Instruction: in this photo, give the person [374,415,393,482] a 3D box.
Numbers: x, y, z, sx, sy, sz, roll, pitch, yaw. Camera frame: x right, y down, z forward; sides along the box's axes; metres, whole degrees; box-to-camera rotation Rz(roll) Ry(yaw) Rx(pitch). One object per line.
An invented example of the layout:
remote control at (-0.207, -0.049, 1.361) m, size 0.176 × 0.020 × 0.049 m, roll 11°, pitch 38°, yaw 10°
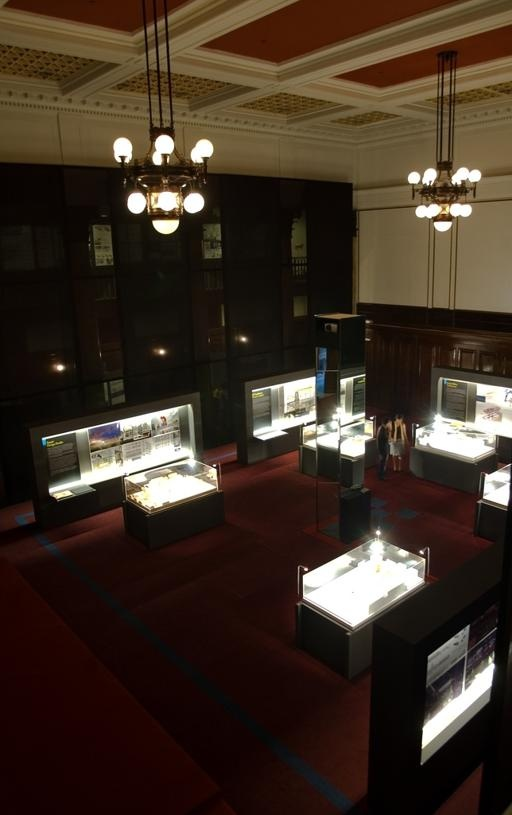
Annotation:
person at (2.292, 0.680, 9.364) m, size 0.254 × 0.946 × 0.915 m, roll 0°, pitch 11°, yaw 14°
